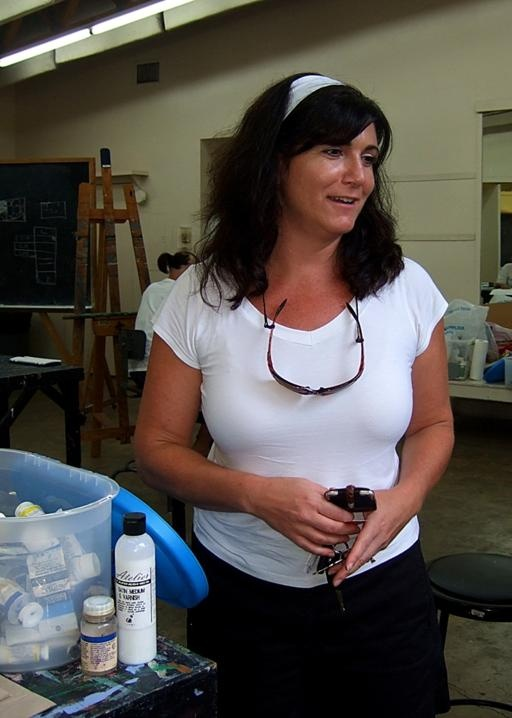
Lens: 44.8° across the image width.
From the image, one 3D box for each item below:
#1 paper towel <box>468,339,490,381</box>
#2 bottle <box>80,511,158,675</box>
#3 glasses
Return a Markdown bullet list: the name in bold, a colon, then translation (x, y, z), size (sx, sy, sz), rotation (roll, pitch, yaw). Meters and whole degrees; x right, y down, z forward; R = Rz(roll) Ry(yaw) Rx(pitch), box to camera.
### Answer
- **paper towel**: translation (1.355, 0.010, 3.797), size (0.095, 0.248, 0.108), rotation (1, 7, 12)
- **bottle**: translation (-0.135, 0.228, 0.611), size (0.072, 0.132, 0.068), rotation (0, 7, 0)
- **glasses**: translation (0.084, -0.018, 0.906), size (0.147, 0.135, 0.108), rotation (0, 7, 0)
